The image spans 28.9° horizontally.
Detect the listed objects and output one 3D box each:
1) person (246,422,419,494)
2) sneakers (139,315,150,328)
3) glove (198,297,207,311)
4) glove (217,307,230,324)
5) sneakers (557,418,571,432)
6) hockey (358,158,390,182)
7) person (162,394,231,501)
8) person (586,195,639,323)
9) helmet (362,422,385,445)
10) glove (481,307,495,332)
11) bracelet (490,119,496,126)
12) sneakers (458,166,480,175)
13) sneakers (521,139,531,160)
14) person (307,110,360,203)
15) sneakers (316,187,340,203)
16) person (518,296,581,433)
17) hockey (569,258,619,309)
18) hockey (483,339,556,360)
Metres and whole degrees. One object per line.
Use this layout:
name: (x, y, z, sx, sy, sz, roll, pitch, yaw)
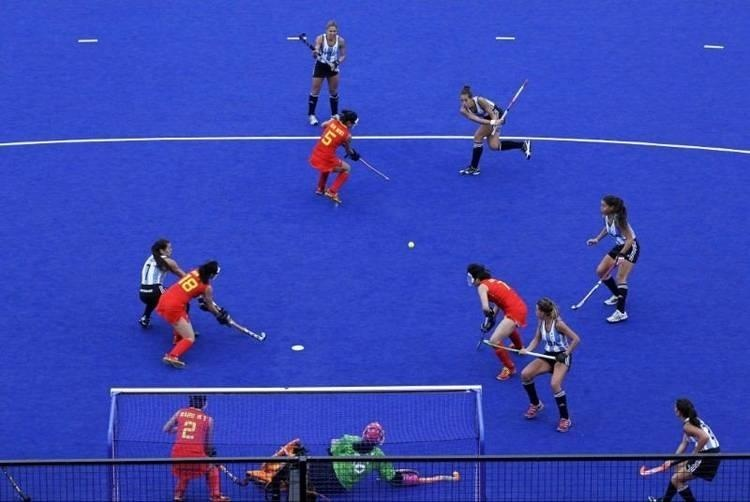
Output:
person: (-0.683, 3.499, 23.639, 2.054, 0.663, 1.214, -4, 11, -16)
sneakers: (-4.214, 1.299, 26.689, 0.180, 0.207, 0.233, 8, -23, -11)
glove: (-3.120, 0.970, 26.364, 0.184, 0.224, 0.206, -2, 27, 8)
glove: (-2.684, 1.164, 26.266, 0.232, 0.257, 0.255, -3, 4, 29)
sneakers: (3.277, 2.978, 25.077, 0.133, 0.137, 0.321, -3, 15, 24)
hockey: (-0.002, -1.675, 30.198, 0.747, 0.087, 0.106, 36, 42, 18)
person: (-2.902, 3.195, 23.645, 1.055, 1.707, 1.342, 2, -3, -9)
person: (4.488, 0.243, 27.354, 1.026, 2.628, 1.322, -9, 28, 0)
helmet: (-0.004, 2.993, 24.202, 0.300, 0.134, 0.367, 8, 41, -11)
glove: (2.074, 1.183, 26.086, 0.264, 0.413, 0.414, 3, -44, 7)
bracelet: (2.384, -2.593, 29.255, 0.139, 0.118, 0.031, -1, 8, -6)
sneakers: (1.965, -1.658, 30.061, 0.435, 0.147, 0.172, -1, -33, -10)
sneakers: (3.155, -2.102, 30.034, 0.238, 0.439, 0.159, -8, 5, 6)
person: (-0.803, -1.871, 29.116, 0.937, 1.793, 1.156, 1, -3, -2)
sneakers: (-0.928, -1.132, 29.294, 0.220, 0.249, 0.625, 13, 1, 35)
person: (3.049, 1.964, 25.342, 0.961, 2.273, 1.187, 1, -3, 6)
hockey: (4.013, 0.754, 27.160, 0.353, 1.462, 0.224, -4, 46, -52)
hockey: (2.584, 1.739, 25.751, 1.583, 0.126, 0.201, 8, -41, 22)
